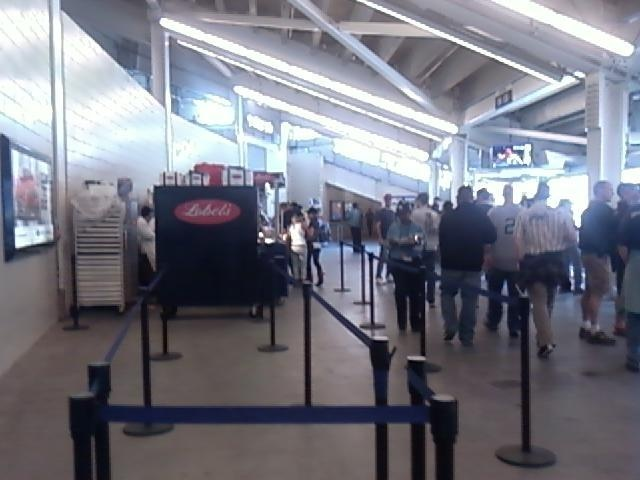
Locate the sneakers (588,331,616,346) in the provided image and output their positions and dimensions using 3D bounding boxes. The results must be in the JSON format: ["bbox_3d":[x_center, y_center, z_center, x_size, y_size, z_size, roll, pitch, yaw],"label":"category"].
[{"bbox_3d":[3.295,1.120,6.497,0.366,0.199,0.149,0,7,8],"label":"sneakers"}]

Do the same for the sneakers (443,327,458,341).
[{"bbox_3d":[1.542,1.110,6.653,0.156,0.153,0.128,3,2,3],"label":"sneakers"}]

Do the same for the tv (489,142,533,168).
[{"bbox_3d":[5.430,-2.407,16.009,1.137,0.694,0.575,3,4,16],"label":"tv"}]

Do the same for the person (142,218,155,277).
[{"bbox_3d":[-2.682,0.072,8.723,0.167,0.778,0.331,0,4,-22],"label":"person"}]

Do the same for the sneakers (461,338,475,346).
[{"bbox_3d":[1.700,1.174,6.453,0.116,0.124,0.073,1,-8,0],"label":"sneakers"}]

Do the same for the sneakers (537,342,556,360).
[{"bbox_3d":[2.403,1.182,5.961,0.091,0.122,0.259,-2,-13,0],"label":"sneakers"}]
